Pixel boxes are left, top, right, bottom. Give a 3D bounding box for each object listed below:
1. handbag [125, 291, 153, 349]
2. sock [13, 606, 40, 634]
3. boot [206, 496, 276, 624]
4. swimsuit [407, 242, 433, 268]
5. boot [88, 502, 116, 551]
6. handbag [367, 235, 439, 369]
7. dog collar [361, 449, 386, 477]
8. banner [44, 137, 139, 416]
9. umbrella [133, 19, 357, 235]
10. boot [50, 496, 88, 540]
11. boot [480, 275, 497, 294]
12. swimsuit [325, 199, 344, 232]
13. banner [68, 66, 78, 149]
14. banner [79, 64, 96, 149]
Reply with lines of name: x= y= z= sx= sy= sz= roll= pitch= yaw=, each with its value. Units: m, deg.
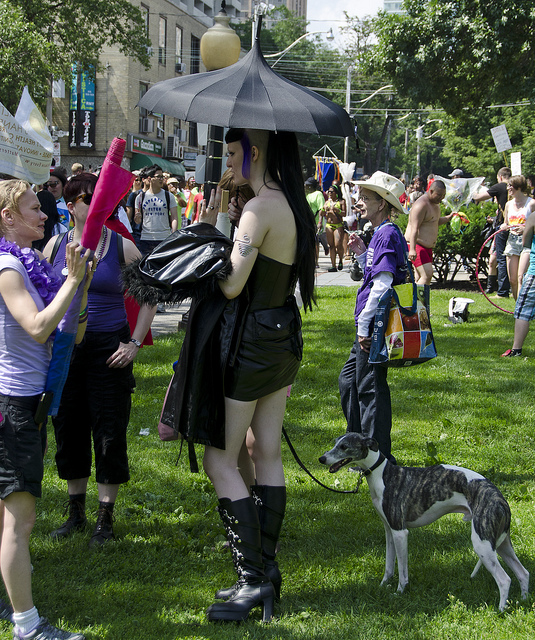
handbag: x=-0.747 y=-0.010 z=5.396 sx=0.152 sy=0.352 sz=0.136 roll=1 pitch=46 yaw=0
sock: x=-1.070 y=1.344 z=4.204 sx=0.100 sy=0.107 sz=0.118 roll=-19 pitch=-6 yaw=-40
boot: x=-0.140 y=1.157 z=4.532 sx=0.325 sy=0.583 sz=0.213 roll=-1 pitch=11 yaw=-2
swimsuit: x=1.903 y=-0.836 z=11.933 sx=0.317 sy=0.347 sz=0.404 roll=-3 pitch=10 yaw=3
boot: x=-0.983 y=1.208 z=5.559 sx=0.146 sy=0.237 sz=0.363 roll=4 pitch=5 yaw=1
handbag: x=0.925 y=-0.013 z=6.284 sx=0.493 sy=0.676 sz=0.233 roll=-7 pitch=12 yaw=-33
dog collar: x=0.544 y=0.746 z=4.903 sx=0.035 sy=0.127 sz=0.119 roll=36 pitch=-3 yaw=-1
banner: x=-0.883 y=-0.203 z=4.627 sx=0.403 sy=1.384 sz=0.714 roll=2 pitch=11 yaw=14
umbrella: x=-0.106 y=-0.929 z=4.833 sx=0.825 sy=0.756 sz=0.814 roll=24 pitch=31 yaw=29
boot: x=-1.177 y=1.176 z=5.630 sx=0.153 sy=0.195 sz=0.351 roll=2 pitch=10 yaw=13
boot: x=3.824 y=-0.639 z=16.181 sx=0.192 sy=0.333 sz=0.649 roll=2 pitch=10 yaw=14
swimsuit: x=1.404 y=-2.176 z=19.775 sx=0.368 sy=0.616 sz=0.730 roll=0 pitch=10 yaw=4
banner: x=-7.869 y=-8.621 z=37.959 sx=0.468 sy=3.296 sz=0.651 roll=-4 pitch=11 yaw=-16
banner: x=-7.327 y=-8.601 z=37.841 sx=0.741 sy=3.360 sz=0.253 roll=-11 pitch=28 yaw=-33
